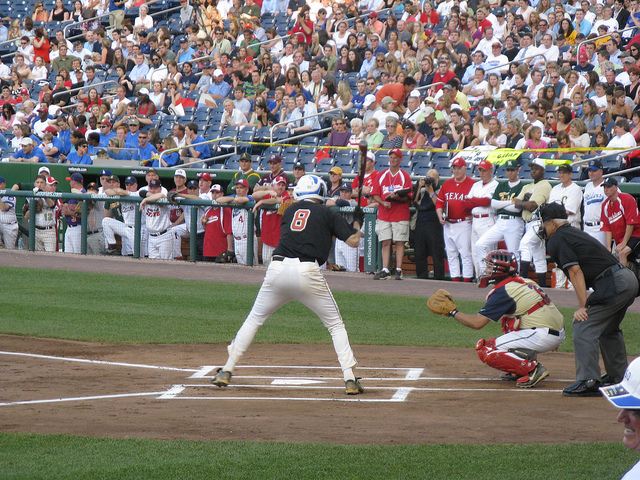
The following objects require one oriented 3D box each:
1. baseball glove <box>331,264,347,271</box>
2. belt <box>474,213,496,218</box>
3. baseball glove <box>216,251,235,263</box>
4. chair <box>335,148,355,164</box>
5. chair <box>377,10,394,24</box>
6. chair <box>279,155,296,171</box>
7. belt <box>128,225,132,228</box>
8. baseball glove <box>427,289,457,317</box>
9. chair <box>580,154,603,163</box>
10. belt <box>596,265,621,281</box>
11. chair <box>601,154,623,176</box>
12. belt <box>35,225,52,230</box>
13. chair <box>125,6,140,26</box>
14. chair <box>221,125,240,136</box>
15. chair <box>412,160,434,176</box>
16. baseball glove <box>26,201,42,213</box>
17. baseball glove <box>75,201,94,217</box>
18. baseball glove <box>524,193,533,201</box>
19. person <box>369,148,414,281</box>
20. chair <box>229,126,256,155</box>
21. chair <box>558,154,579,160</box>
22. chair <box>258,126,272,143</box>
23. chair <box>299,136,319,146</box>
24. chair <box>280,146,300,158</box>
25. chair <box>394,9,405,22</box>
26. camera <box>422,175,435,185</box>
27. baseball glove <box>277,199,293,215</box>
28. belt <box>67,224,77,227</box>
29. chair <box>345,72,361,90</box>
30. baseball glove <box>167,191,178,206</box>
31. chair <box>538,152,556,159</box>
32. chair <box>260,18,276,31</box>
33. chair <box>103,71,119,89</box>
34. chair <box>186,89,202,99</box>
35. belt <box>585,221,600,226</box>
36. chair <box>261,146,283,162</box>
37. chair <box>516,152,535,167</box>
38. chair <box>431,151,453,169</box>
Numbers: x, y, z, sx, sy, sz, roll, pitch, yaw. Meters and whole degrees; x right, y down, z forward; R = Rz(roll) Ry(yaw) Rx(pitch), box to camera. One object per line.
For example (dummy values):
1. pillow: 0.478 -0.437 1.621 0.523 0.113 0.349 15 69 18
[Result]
1. baseball glove: 0.348 0.558 28.076 0.309 0.128 0.104 -3 1 19
2. belt: 3.029 -0.466 26.568 0.276 0.058 0.059 -1 -4 14
3. baseball glove: -1.956 0.341 28.719 0.368 0.232 0.124 1 -4 -6
4. chair: 0.503 -1.779 29.401 0.310 0.384 0.328 4 8 21
5. chair: 1.579 -5.643 35.034 0.383 0.451 0.378 1 12 2
6. chair: -0.707 -1.704 30.376 0.396 0.368 0.516 -2 -4 10
7. belt: -3.977 -0.293 29.256 0.051 0.037 0.051 1 -3 6
8. baseball glove: 1.811 0.939 21.085 0.411 0.382 0.236 0 -4 3
9. chair: 5.128 -1.574 26.704 0.411 0.179 0.270 0 -4 8
10. belt: 4.193 0.472 20.494 0.305 0.204 0.079 0 -4 10
11. chair: 5.549 -1.473 26.798 0.392 0.419 0.310 -1 -2 -42
12. belt: -5.932 -0.277 30.038 0.363 0.081 0.069 1 -4 -5
13. chair: -5.284 -6.362 39.340 0.390 0.638 0.673 1 -4 -7
14. chair: -2.034 -2.505 31.631 0.256 0.326 0.272 3 12 14
15. chair: 2.080 -1.497 28.506 0.339 0.337 0.464 3 4 16
16. baseball glove: -6.073 -0.730 29.862 0.262 0.290 0.267 8 11 35
17. baseball glove: -5.047 -0.661 29.540 0.242 0.331 0.107 4 23 0
18. baseball glove: 3.837 -0.815 26.009 0.031 0.117 0.126 27 4 -15
19. person: 1.366 -0.492 27.137 0.729 2.543 0.816 3 -4 -30
20. chair: -1.674 -2.251 31.201 0.553 0.713 0.659 2 -4 -25
21. chair: 4.750 -1.612 26.940 0.341 0.132 0.175 -3 -5 39
22. chair: -1.259 -2.366 31.104 0.315 0.400 0.361 1 0 9
23. chair: -0.263 -2.205 30.719 0.430 0.205 0.199 0 -4 0
24. chair: -0.668 -1.930 30.460 0.258 0.310 0.370 3 0 21
25. chair: 1.920 -5.626 34.669 0.355 0.426 0.316 0 7 3
26. camera: 2.083 -1.165 27.030 0.190 0.113 0.143 -2 9 1
27. baseball glove: -0.536 -0.496 21.146 0.206 0.249 0.705 1 -4 -3
28. belt: -5.264 -0.314 29.809 0.205 0.052 0.032 -2 -5 29
29. chair: 0.728 -3.708 32.270 0.380 0.466 0.430 -1 -4 11
30. baseball glove: -3.012 -0.861 28.781 0.247 0.200 0.255 2 9 10
31. chair: 4.356 -1.644 27.032 0.308 0.137 0.103 -1 -4 16
32. chair: -1.377 -5.732 36.770 0.362 0.366 0.539 2 -4 -19
33. chair: -5.487 -4.160 36.150 0.373 0.492 0.428 6 6 9
34. chair: -3.063 -3.574 33.935 0.270 0.332 0.309 1 10 5
35. belt: 4.964 -0.311 25.769 0.041 0.078 0.312 4 -6 -42
36. chair: -1.114 -1.919 30.662 0.220 0.329 0.638 4 -6 -45
37. chair: 3.956 -1.581 27.202 0.248 0.312 0.288 2 8 14
38. chair: 2.424 -1.627 28.250 0.315 0.414 0.329 4 11 25
